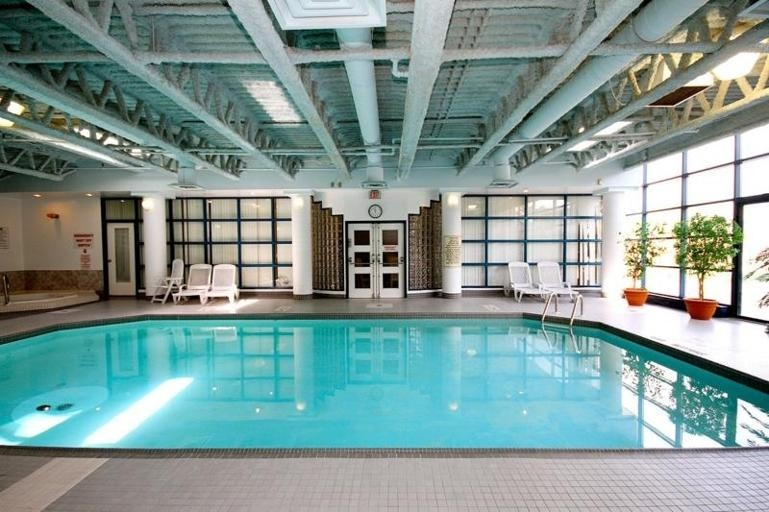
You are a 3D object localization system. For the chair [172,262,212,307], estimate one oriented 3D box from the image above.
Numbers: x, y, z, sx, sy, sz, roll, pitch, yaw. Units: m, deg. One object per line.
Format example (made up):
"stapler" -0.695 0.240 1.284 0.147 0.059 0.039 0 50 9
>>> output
"chair" -5.563 0.890 13.562 0.876 0.892 1.234 -1 20 10

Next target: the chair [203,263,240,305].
"chair" -4.728 0.813 13.789 1.284 1.333 1.214 1 0 -4

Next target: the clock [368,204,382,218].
"clock" -0.279 -1.345 14.180 0.511 0.372 0.149 -8 5 -1

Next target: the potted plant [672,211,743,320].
"potted plant" 7.078 0.255 10.352 0.832 2.363 1.080 1 -2 -15

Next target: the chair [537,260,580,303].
"chair" 4.975 0.715 13.616 0.983 1.138 2.720 0 -2 18
